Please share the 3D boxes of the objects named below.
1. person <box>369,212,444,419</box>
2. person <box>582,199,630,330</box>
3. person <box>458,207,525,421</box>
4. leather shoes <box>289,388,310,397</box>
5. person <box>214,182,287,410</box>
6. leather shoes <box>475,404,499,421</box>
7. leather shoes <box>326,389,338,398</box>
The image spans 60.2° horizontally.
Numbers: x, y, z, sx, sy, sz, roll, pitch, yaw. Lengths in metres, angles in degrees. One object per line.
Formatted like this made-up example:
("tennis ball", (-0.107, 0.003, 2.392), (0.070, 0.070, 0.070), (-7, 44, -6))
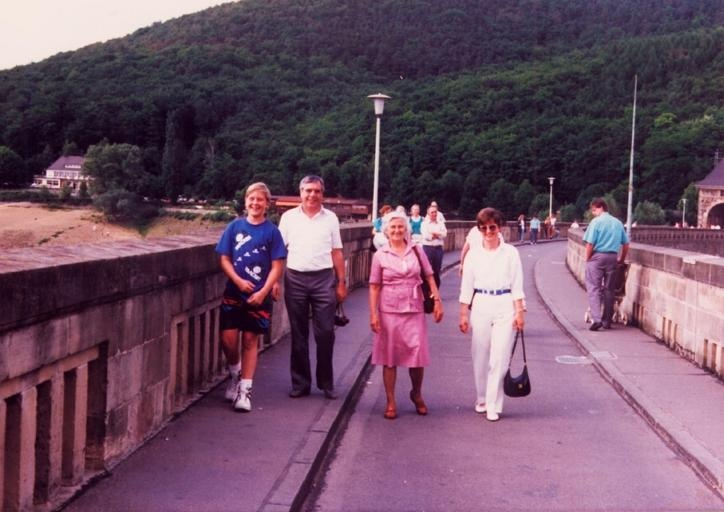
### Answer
("person", (0.410, 0.613, 6.159), (0.686, 2.034, 0.351), (3, 6, 1))
("person", (4.160, 0.188, 10.758), (0.759, 2.152, 0.541), (4, 6, 4))
("person", (1.312, 0.585, 6.334), (0.643, 2.121, 0.522), (6, 7, 21))
("leather shoes", (-0.640, 1.422, 6.468), (0.073, 0.104, 0.233), (-1, -12, 28))
("person", (-1.069, 0.401, 5.971), (0.643, 2.182, 0.495), (3, 6, -4))
("leather shoes", (1.279, 1.586, 6.349), (0.081, 0.106, 0.247), (-11, 5, -15))
("leather shoes", (-0.314, 1.430, 6.439), (0.059, 0.062, 0.135), (0, -7, -17))
